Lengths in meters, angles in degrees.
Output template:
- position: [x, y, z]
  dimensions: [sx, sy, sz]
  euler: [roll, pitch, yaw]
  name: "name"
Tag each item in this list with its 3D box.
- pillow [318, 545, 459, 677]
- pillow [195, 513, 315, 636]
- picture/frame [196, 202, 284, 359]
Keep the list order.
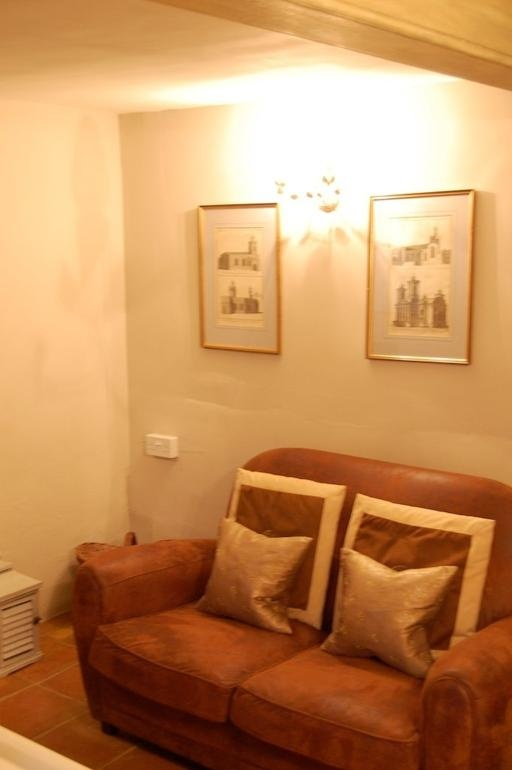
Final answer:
- position: [0.407, 0.725, 1.977]
  dimensions: [0.346, 0.302, 0.181]
  euler: [3, 2, 37]
  name: "pillow"
- position: [-0.031, 0.701, 2.341]
  dimensions: [0.406, 0.348, 0.209]
  euler: [5, 2, 36]
  name: "pillow"
- position: [-0.085, -0.505, 2.932]
  dimensions: [0.457, 0.690, 0.038]
  euler: [4, 10, 33]
  name: "picture/frame"
